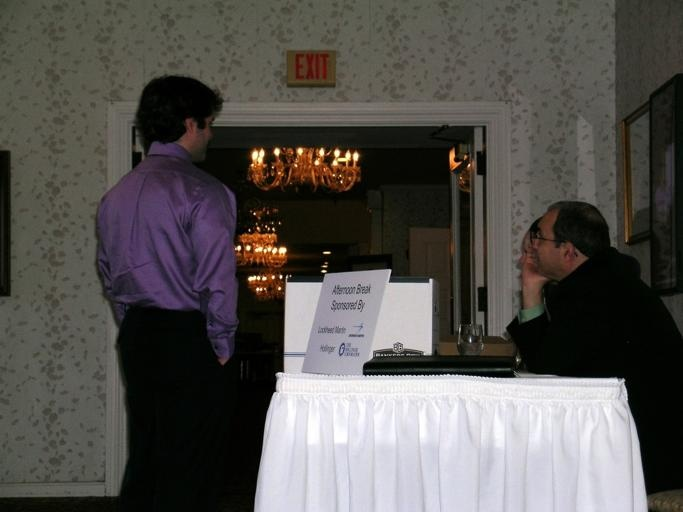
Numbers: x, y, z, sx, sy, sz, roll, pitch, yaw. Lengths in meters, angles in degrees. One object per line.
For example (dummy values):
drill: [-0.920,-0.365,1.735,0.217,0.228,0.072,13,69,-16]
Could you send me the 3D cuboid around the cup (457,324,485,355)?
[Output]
cup: [0.605,0.398,4.582,0.109,0.142,0.122,0,-3,-11]
